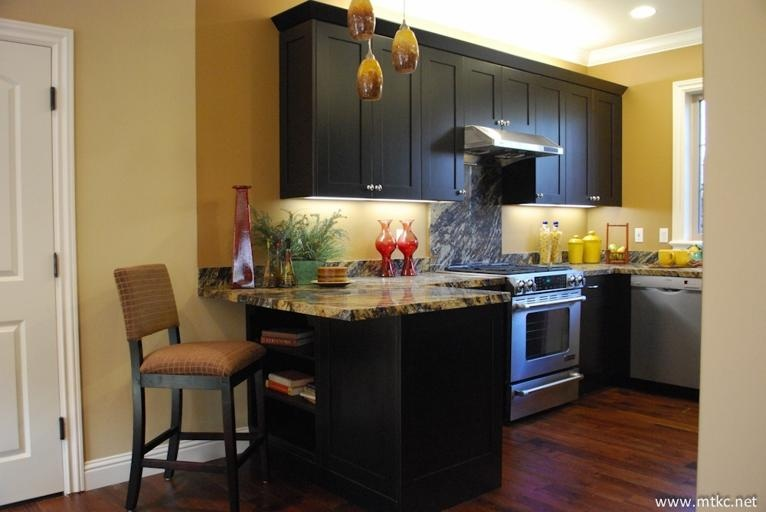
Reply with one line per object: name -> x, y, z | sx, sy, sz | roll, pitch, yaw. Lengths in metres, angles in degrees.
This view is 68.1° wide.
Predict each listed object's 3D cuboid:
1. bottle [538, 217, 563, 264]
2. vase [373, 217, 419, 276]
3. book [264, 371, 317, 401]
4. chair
bottle -> 1.555, -0.134, 5.236 | 0.181, 0.390, 0.388 | 2, 6, 24
vase -> 0.084, -0.061, 4.104 | 0.428, 0.540, 0.208 | 0, -3, -31
book -> -0.513, 0.724, 3.197 | 0.147, 0.051, 0.187 | -2, 4, -42
chair -> -0.994, 0.656, 2.995 | 0.725, 1.218, 0.685 | -1, 5, -1
